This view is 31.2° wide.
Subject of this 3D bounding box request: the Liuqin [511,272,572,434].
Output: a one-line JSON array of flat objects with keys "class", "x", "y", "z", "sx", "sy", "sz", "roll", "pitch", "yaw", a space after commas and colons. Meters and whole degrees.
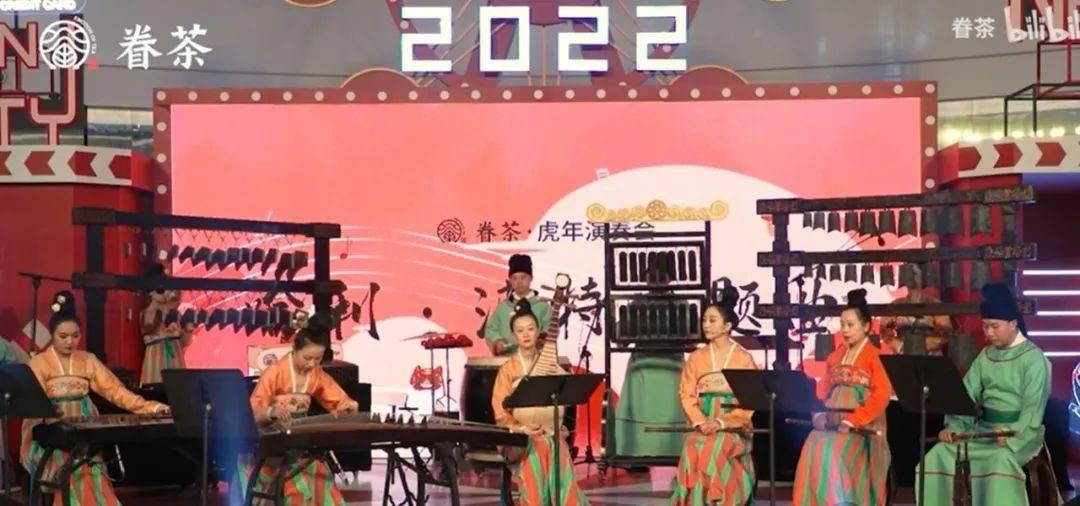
[{"class": "Liuqin", "x": -0.424, "y": 0.998, "z": 33.783, "sx": 1.282, "sy": 1.769, "sz": 0.656, "roll": 2, "pitch": 2, "yaw": -1}]
